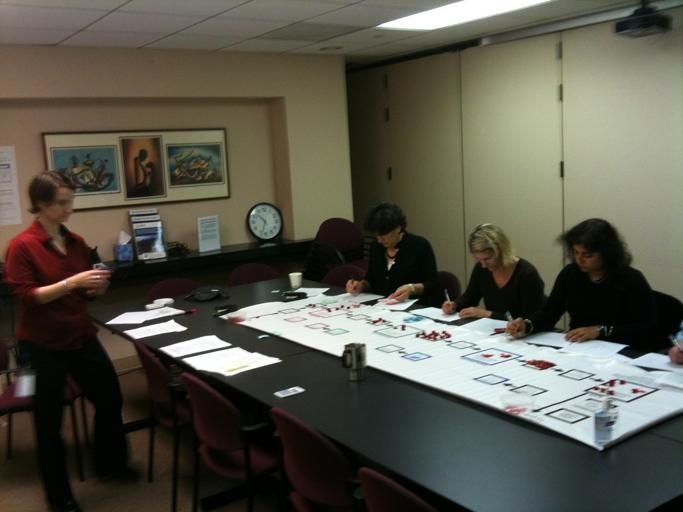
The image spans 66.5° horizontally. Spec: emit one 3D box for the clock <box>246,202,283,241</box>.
[{"bbox_3d":[-0.915,-0.396,6.071,0.430,0.439,0.071,-2,-3,-33],"label":"clock"}]

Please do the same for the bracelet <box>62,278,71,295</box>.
[{"bbox_3d":[-1.518,0.168,2.876,0.023,0.065,0.053,2,-3,-14],"label":"bracelet"}]

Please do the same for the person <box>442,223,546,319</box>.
[{"bbox_3d":[1.051,0.099,3.479,0.635,0.606,0.719,-5,3,-22],"label":"person"}]

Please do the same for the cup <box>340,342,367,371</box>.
[{"bbox_3d":[0.065,0.483,2.542,0.115,0.118,0.123,0,8,0],"label":"cup"}]

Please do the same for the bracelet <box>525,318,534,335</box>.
[{"bbox_3d":[1.065,0.399,2.936,0.069,0.072,0.071,-4,5,36],"label":"bracelet"}]

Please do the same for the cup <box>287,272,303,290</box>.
[{"bbox_3d":[-0.383,0.199,4.304,0.113,0.116,0.141,0,-2,0],"label":"cup"}]

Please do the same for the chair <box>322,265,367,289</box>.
[{"bbox_3d":[0.022,0.182,4.666,0.224,0.298,0.258,0,-3,32],"label":"chair"}]
